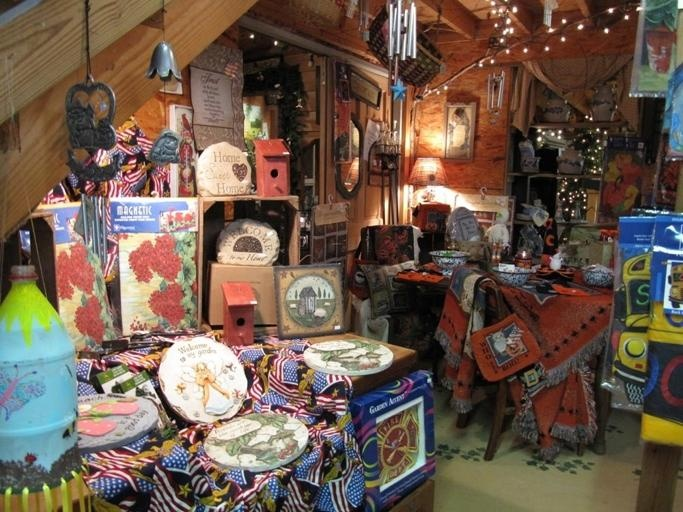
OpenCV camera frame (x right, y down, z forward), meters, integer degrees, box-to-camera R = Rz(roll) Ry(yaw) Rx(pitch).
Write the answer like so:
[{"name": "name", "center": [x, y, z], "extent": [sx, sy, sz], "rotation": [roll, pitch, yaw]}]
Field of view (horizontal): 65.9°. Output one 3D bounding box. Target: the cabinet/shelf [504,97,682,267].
[{"name": "cabinet/shelf", "center": [2.309, -0.671, 4.923], "extent": [1.339, 1.519, 1.853], "rotation": [2, 10, 11]}]

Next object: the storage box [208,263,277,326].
[{"name": "storage box", "center": [-0.517, 0.156, 2.803], "extent": [0.408, 0.383, 0.289], "rotation": [0, 1, -20]}]

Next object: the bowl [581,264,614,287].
[{"name": "bowl", "center": [1.666, 0.133, 3.417], "extent": [0.168, 0.125, 0.173], "rotation": [5, 3, 0]}]

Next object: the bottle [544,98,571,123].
[{"name": "bottle", "center": [2.172, -1.498, 5.392], "extent": [0.246, 0.230, 0.244], "rotation": [-9, 17, -28]}]

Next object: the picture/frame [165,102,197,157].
[{"name": "picture/frame", "center": [-0.876, -0.687, 2.858], "extent": [0.108, 0.282, 0.184], "rotation": [2, 10, 8]}]

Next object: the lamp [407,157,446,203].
[{"name": "lamp", "center": [0.958, -0.846, 5.920], "extent": [0.457, 0.521, 0.408], "rotation": [5, 11, 25]}]

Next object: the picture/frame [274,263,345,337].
[{"name": "picture/frame", "center": [-0.170, 0.232, 2.636], "extent": [0.345, 0.354, 0.028], "rotation": [1, -8, -28]}]

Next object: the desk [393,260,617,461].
[{"name": "desk", "center": [1.142, 0.659, 3.491], "extent": [1.063, 1.039, 1.083], "rotation": [4, -8, 26]}]

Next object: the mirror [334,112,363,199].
[{"name": "mirror", "center": [0.076, -0.947, 5.024], "extent": [0.128, 0.820, 0.603], "rotation": [3, 10, 17]}]

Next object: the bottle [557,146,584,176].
[{"name": "bottle", "center": [2.310, -0.954, 5.305], "extent": [0.268, 0.267, 0.261], "rotation": [1, 5, 11]}]
